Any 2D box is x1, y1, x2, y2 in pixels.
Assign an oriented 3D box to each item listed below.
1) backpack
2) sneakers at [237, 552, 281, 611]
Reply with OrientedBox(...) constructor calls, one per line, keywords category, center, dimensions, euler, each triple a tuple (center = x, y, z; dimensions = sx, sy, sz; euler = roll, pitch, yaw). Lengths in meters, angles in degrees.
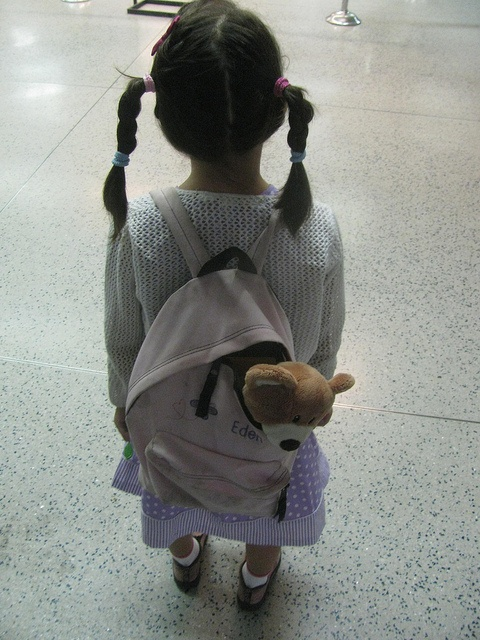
OrientedBox(category="backpack", center=(0.015, 0.045, 0.835), dimensions=(0.280, 0.444, 0.466), euler=(5, 60, -12))
OrientedBox(category="sneakers", center=(0.037, 0.589, 1.229), dimensions=(0.077, 0.069, 0.173), euler=(5, 9, 13))
